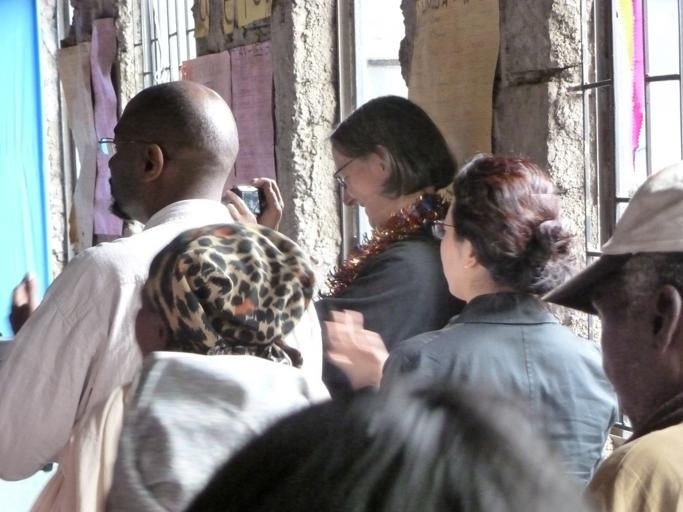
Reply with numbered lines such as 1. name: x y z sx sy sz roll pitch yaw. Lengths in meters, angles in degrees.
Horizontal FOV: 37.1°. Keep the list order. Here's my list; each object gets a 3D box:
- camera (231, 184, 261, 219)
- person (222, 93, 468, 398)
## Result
1. camera: -0.350 -0.214 3.981 0.088 0.158 0.100 -2 6 2
2. person: 0.128 0.126 3.909 0.880 1.416 0.754 -4 9 20
